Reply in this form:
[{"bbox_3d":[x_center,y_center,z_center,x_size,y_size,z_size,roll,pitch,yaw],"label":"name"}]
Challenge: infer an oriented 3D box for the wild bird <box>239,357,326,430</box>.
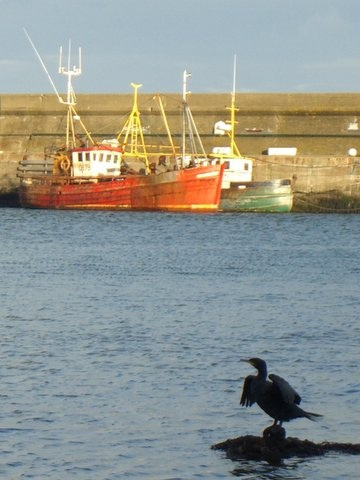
[{"bbox_3d":[1.018,1.589,13.294,0.874,0.699,0.428,0,-1,20],"label":"wild bird"}]
